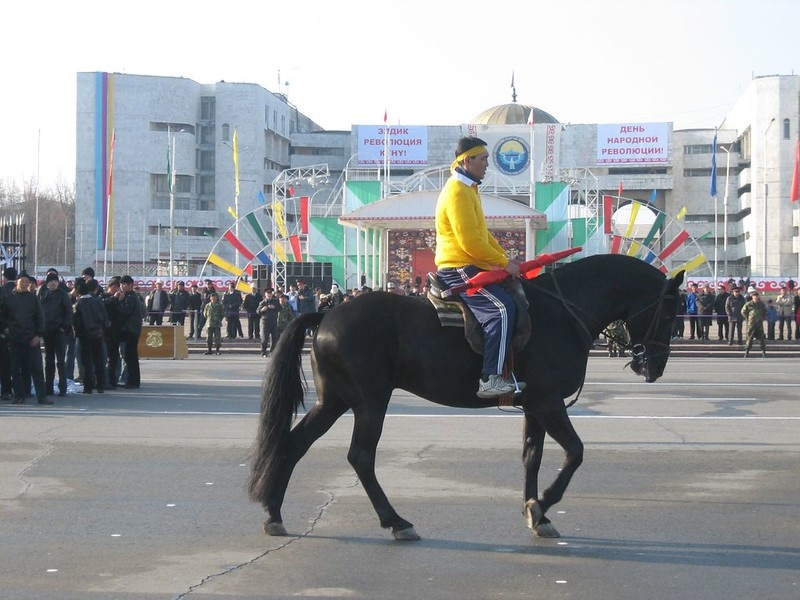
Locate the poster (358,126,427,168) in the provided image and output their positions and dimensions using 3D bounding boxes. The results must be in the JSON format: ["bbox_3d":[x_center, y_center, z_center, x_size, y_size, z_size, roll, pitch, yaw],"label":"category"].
[{"bbox_3d":[-0.569,-9.912,119.038,5.505,2.641,0.392,-4,8,-39],"label":"poster"}]

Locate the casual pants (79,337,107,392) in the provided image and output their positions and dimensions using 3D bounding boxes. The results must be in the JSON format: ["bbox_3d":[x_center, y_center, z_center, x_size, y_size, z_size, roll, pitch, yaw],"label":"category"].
[{"bbox_3d":[-9.738,2.019,59.440,0.592,1.777,0.907,1,3,29],"label":"casual pants"}]

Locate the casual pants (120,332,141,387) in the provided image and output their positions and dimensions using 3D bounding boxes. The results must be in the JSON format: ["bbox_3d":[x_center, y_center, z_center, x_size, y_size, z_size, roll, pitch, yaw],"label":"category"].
[{"bbox_3d":[-8.658,1.899,60.350,0.563,1.756,1.006,-1,2,-9],"label":"casual pants"}]

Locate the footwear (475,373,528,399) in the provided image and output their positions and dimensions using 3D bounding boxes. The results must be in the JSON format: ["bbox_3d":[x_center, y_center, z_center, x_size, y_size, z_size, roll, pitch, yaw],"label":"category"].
[{"bbox_3d":[2.689,2.282,49.841,1.204,0.638,0.199,0,2,3],"label":"footwear"}]

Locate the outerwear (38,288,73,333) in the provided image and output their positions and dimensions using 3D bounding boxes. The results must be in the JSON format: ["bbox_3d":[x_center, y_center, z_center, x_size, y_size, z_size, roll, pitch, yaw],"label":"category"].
[{"bbox_3d":[-10.755,0.317,58.297,1.753,1.492,0.931,0,-1,-6],"label":"outerwear"}]

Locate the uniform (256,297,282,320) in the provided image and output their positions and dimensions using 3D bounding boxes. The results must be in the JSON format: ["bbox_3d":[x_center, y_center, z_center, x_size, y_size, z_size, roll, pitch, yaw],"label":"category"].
[{"bbox_3d":[-4.833,0.318,68.764,1.099,0.976,0.700,0,-12,-7],"label":"uniform"}]

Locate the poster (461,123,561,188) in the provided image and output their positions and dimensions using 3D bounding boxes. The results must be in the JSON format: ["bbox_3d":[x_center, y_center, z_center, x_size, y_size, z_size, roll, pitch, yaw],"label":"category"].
[{"bbox_3d":[6.666,-8.114,103.329,5.393,3.068,2.897,5,8,27],"label":"poster"}]

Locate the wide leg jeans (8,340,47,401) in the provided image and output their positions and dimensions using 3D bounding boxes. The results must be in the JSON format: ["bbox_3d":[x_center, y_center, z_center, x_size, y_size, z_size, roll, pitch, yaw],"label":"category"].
[{"bbox_3d":[-11.494,2.142,57.710,1.065,1.895,0.620,-1,2,-10],"label":"wide leg jeans"}]

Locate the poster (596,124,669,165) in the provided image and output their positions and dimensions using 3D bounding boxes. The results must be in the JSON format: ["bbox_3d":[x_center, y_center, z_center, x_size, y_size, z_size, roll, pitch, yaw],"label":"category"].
[{"bbox_3d":[14.929,-10.216,120.407,5.454,2.715,0.132,3,7,39],"label":"poster"}]
